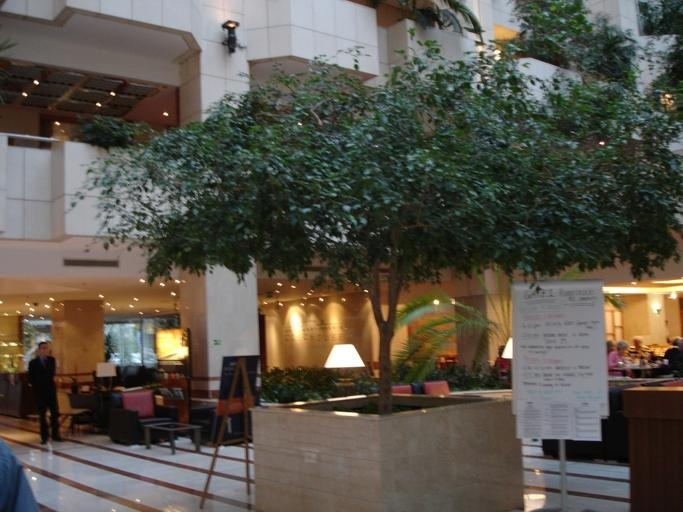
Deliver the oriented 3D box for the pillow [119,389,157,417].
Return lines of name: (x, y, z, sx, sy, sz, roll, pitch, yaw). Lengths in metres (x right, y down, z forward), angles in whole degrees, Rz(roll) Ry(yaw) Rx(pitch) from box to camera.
pillow: (-3.925, 2.858, 13.126, 0.435, 0.404, 0.146, 10, -46, -32)

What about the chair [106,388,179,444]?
chair: (-3.862, 3.113, 13.195, 1.043, 0.967, 0.983, 4, -9, -40)
